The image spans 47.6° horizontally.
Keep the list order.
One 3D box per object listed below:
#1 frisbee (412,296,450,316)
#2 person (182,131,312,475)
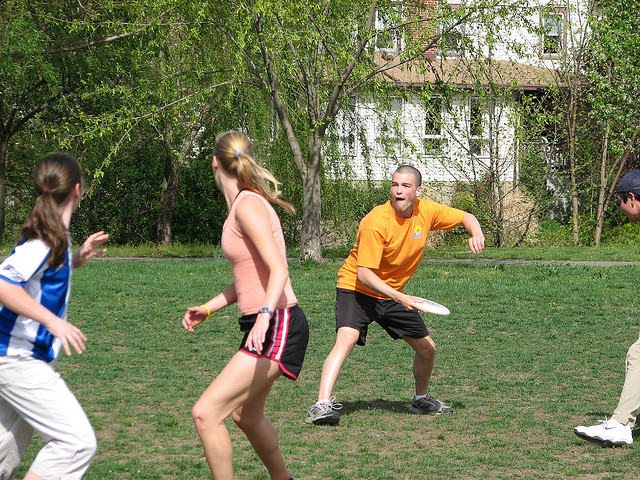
[{"bbox_3d":[1.078,0.677,6.996,0.265,0.162,0.464,0,8,-5],"label":"frisbee"},{"bbox_3d":[-0.548,0.649,5.956,0.951,3.054,0.932,-1,8,-9],"label":"person"}]
